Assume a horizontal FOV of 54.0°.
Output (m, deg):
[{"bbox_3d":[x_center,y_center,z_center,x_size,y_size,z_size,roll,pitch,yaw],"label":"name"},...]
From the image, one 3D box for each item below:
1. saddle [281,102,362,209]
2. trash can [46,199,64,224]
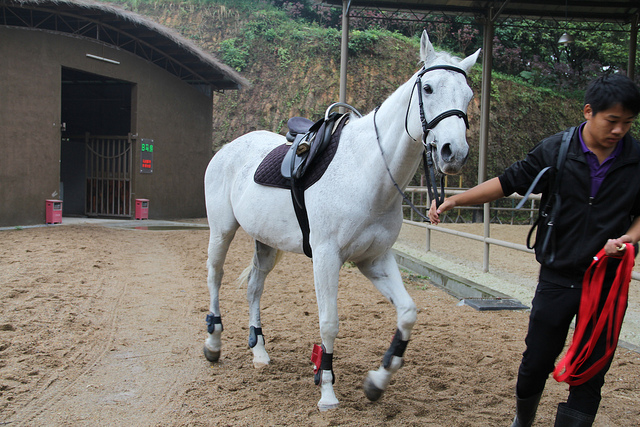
[{"bbox_3d":[-0.117,-0.760,7.478,0.809,0.441,1.342,-19,39,12],"label":"saddle"},{"bbox_3d":[-6.391,-0.022,15.060,0.231,0.591,0.464,5,8,34],"label":"trash can"}]
